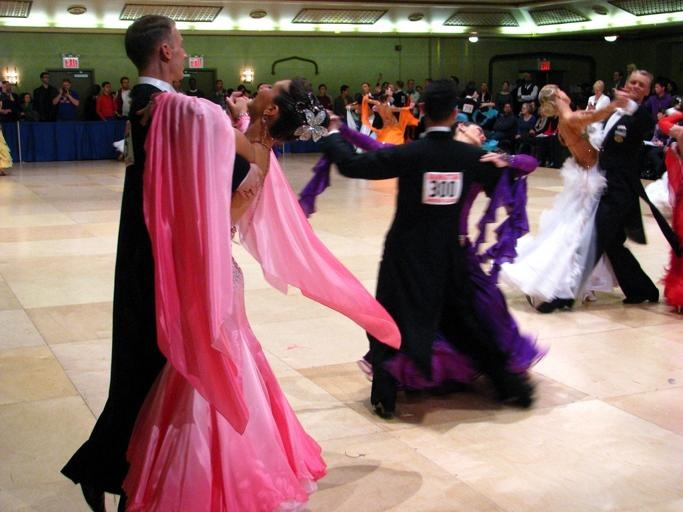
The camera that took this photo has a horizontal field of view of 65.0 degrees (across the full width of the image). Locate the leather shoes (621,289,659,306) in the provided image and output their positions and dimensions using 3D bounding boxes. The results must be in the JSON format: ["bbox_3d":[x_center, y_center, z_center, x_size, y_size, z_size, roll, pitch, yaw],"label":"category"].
[{"bbox_3d":[2.812,0.380,5.006,0.267,0.092,0.153,1,-1,-13],"label":"leather shoes"}]

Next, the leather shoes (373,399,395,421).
[{"bbox_3d":[0.239,0.874,3.071,0.130,0.126,0.079,6,-5,4],"label":"leather shoes"}]

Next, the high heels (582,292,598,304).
[{"bbox_3d":[2.328,0.395,5.051,0.051,0.071,0.163,7,-25,3],"label":"high heels"}]

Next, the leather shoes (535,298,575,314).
[{"bbox_3d":[1.929,0.427,4.822,0.378,0.135,0.086,-4,13,-19],"label":"leather shoes"}]
